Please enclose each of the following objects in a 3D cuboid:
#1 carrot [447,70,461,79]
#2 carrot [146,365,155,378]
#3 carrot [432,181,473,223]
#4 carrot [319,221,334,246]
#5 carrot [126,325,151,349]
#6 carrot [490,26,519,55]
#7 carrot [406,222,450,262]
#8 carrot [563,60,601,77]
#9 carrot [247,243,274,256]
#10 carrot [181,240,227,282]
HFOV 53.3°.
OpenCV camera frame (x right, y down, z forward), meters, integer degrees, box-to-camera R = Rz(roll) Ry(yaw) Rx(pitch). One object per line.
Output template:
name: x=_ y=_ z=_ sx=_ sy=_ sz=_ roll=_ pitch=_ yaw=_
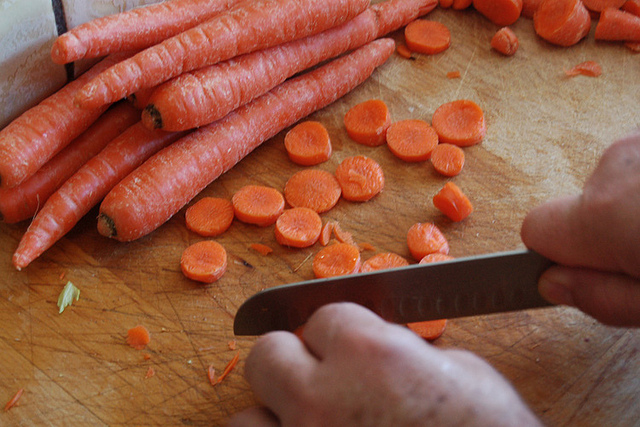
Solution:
carrot: x=0.678 y=-0.707 z=3.239 sx=0.046 sy=0.013 sz=0.042 roll=4 pitch=55 yaw=7
carrot: x=-0.678 y=0.630 z=2.542 sx=0.029 sy=0.010 sz=0.029 roll=-45 pitch=53 yaw=0
carrot: x=0.618 y=-0.049 z=2.873 sx=0.143 sy=0.194 sz=0.160 roll=-20 pitch=103 yaw=-36
carrot: x=0.027 y=0.091 z=2.827 sx=0.036 sy=0.031 sz=0.115 roll=26 pitch=52 yaw=-8
carrot: x=-0.741 y=0.504 z=2.605 sx=0.100 sy=0.013 sz=0.089 roll=10 pitch=76 yaw=6
carrot: x=0.986 y=-0.875 z=3.312 sx=0.107 sy=0.114 sz=0.069 roll=-26 pitch=57 yaw=28
carrot: x=0.462 y=0.092 z=2.805 sx=0.149 sy=0.230 sz=0.058 roll=4 pitch=39 yaw=12
carrot: x=1.329 y=-0.734 z=3.233 sx=0.124 sy=0.034 sz=0.097 roll=-4 pitch=49 yaw=18
carrot: x=-0.265 y=0.154 z=2.802 sx=0.079 sy=0.018 sz=0.057 roll=25 pitch=67 yaw=14
carrot: x=-0.501 y=0.200 z=2.748 sx=0.192 sy=0.066 sz=0.186 roll=-2 pitch=75 yaw=3
